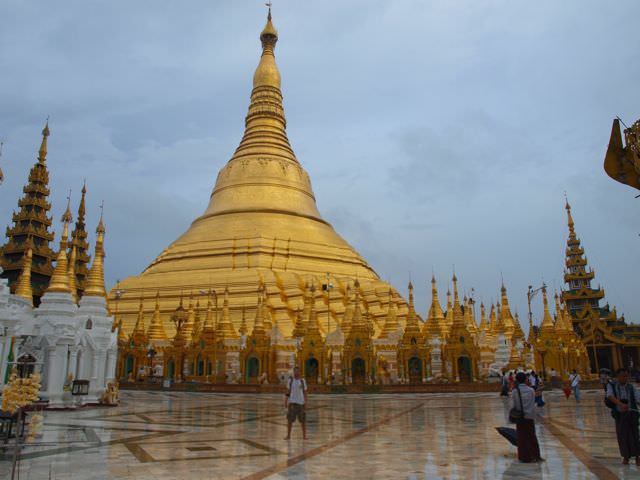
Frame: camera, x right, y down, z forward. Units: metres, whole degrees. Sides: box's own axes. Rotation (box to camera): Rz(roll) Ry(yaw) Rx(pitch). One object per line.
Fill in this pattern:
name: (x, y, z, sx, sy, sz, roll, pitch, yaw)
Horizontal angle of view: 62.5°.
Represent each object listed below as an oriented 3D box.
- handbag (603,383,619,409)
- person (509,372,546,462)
handbag: (4.293, 2.282, 7.831, 0.143, 0.357, 0.257, -2, -3, 39)
person: (3.080, 2.635, 7.961, 0.386, 1.281, 0.593, -7, -16, 20)
